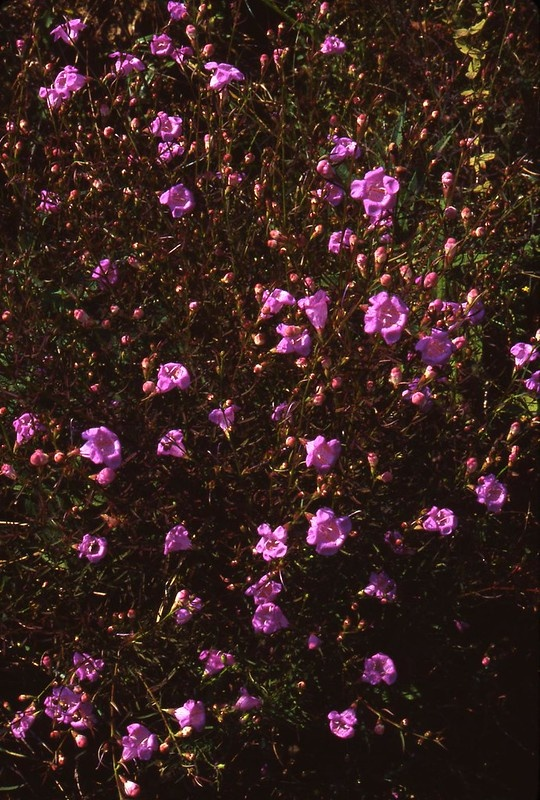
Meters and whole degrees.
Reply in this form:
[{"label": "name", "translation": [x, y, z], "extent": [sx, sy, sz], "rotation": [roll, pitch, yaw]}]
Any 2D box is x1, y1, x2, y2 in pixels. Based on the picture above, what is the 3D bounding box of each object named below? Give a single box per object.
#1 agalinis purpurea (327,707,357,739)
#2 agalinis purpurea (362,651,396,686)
[{"label": "agalinis purpurea", "translation": [0.219, 0.972, 2.598], "extent": [0.081, 0.116, 0.046], "rotation": [-2, 27, 9]}, {"label": "agalinis purpurea", "translation": [0.332, 0.817, 2.603], "extent": [0.098, 0.096, 0.068], "rotation": [-1, 27, 11]}]
